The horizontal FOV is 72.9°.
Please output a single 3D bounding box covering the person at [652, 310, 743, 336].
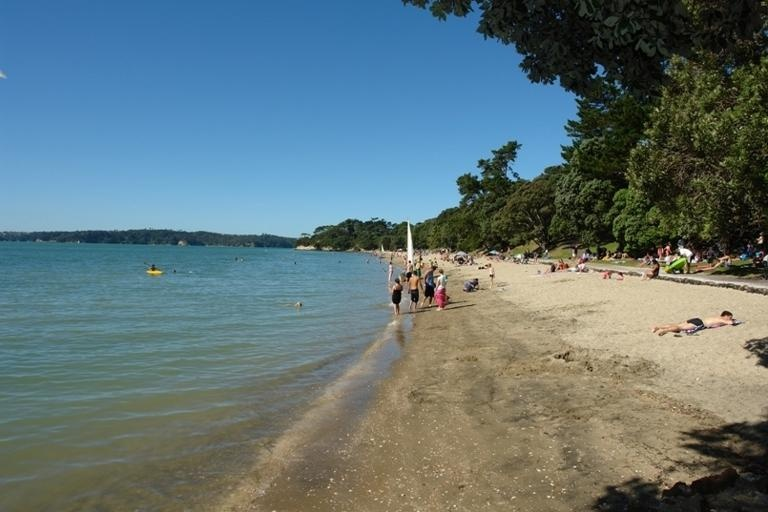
[{"bbox_3d":[11.763,2.485,19.514,2.806,0.536,0.886,-8,8,12],"label":"person"}]
